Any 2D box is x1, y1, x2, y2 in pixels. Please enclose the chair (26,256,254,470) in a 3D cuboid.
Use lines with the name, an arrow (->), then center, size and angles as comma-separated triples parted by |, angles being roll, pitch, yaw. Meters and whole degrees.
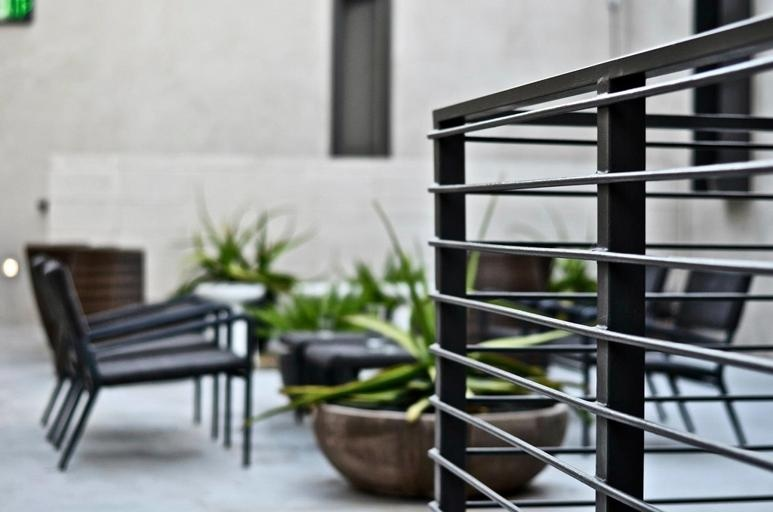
chair -> -0.587, 0.251, 2.048 | 0.536, 0.476, 0.449 | 2, -2, -16

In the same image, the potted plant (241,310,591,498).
potted plant -> 0.015, 0.451, 2.104 | 0.610, 0.236, 0.600 | 3, -5, -32

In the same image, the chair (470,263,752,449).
chair -> 0.587, 0.271, 2.127 | 0.497, 0.621, 0.650 | 3, -5, -21
